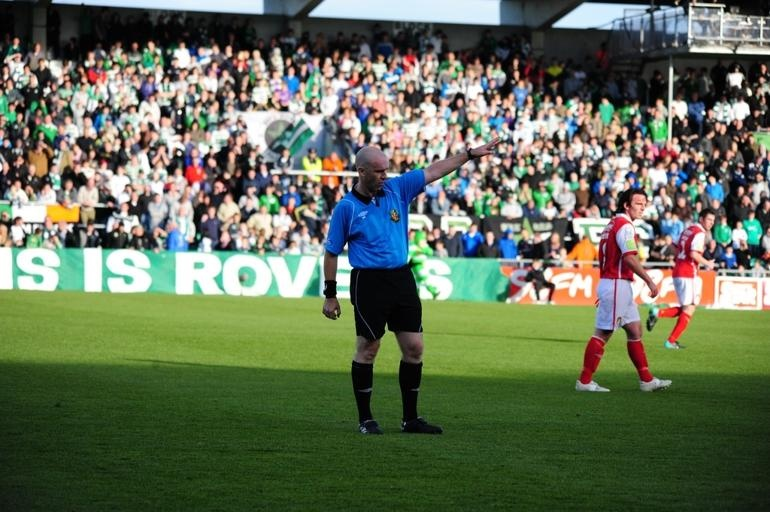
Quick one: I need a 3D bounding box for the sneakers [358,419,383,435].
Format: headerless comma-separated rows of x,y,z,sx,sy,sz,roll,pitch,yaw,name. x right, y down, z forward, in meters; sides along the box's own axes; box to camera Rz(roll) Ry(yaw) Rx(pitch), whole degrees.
-0.229,2.550,19.343,0.173,0.149,0.336,-1,-4,-38,sneakers

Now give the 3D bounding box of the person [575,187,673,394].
3.914,0.557,21.737,1.337,3.373,0.849,2,4,9,person

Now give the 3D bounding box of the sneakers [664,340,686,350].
5.749,1.773,25.817,0.441,0.215,0.172,3,12,-13,sneakers

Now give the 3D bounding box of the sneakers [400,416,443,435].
0.539,2.509,19.416,0.576,0.265,0.249,2,0,1,sneakers

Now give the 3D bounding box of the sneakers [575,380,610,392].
3.412,2.180,21.615,0.567,0.242,0.216,-1,0,-3,sneakers
